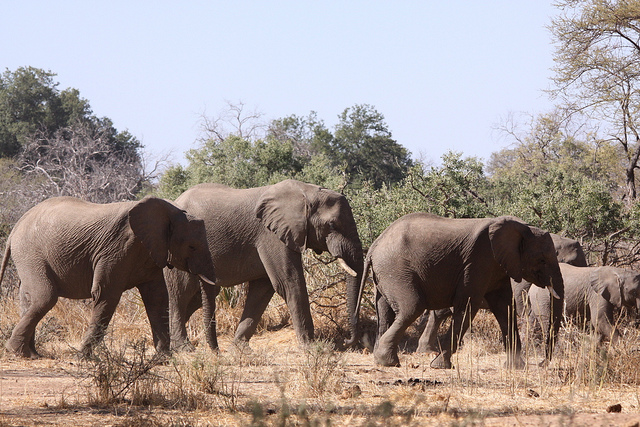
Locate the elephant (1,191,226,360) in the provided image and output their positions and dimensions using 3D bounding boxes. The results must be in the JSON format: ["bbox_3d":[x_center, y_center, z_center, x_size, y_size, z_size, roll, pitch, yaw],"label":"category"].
[{"bbox_3d":[-3.915,1.148,14.104,3.516,3.488,3.308,-10,-18,43],"label":"elephant"}]

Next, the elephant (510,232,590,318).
[{"bbox_3d":[5.373,1.348,16.390,2.384,1.619,1.270,-9,1,6],"label":"elephant"}]
